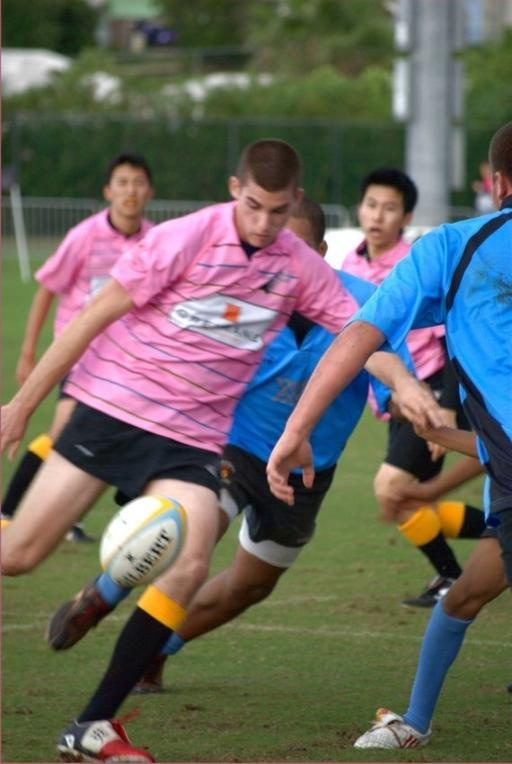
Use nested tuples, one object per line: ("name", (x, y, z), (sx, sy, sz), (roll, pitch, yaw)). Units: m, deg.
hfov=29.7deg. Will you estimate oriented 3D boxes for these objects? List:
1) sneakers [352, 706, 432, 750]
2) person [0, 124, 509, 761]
("sneakers", (0.361, 0.923, 2.565), (0.196, 0.079, 0.084), (1, -7, -4))
("person", (-0.116, 0.046, 2.556), (1.118, 1.466, 0.789), (2, 4, 7))
